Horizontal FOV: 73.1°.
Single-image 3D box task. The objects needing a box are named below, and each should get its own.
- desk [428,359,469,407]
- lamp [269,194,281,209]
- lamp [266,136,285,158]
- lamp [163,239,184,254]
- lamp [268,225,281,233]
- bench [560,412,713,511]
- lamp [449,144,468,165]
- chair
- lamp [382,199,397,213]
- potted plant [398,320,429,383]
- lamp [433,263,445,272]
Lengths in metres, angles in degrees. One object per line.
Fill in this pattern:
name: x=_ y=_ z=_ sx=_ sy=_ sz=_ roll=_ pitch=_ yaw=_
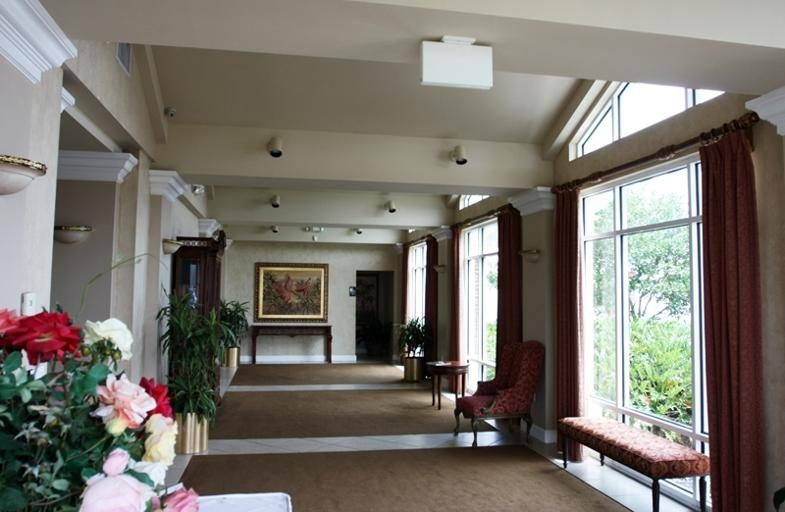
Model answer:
desk: x=0.907 y=1.861 z=8.205 sx=0.826 sy=0.809 sz=0.814 roll=2 pitch=-11 yaw=-12
lamp: x=-2.152 y=-1.019 z=9.671 sx=0.212 sy=0.240 sz=0.213 roll=3 pitch=-6 yaw=-16
lamp: x=-1.334 y=-1.241 z=6.018 sx=0.186 sy=0.215 sz=0.154 roll=3 pitch=-6 yaw=-13
lamp: x=-2.591 y=-0.138 z=6.177 sx=0.175 sy=0.168 sz=0.297 roll=4 pitch=-6 yaw=-19
lamp: x=-2.677 y=-0.624 z=12.078 sx=0.223 sy=0.158 sz=0.106 roll=5 pitch=-7 yaw=-28
bench: x=2.251 y=1.892 z=4.854 sx=0.617 sy=0.609 sz=1.393 roll=4 pitch=-6 yaw=-21
lamp: x=0.775 y=-1.186 z=6.272 sx=0.176 sy=0.237 sz=0.235 roll=4 pitch=-22 yaw=-15
chair: x=1.327 y=1.656 z=6.706 sx=1.009 sy=1.177 sz=0.914 roll=-1 pitch=-6 yaw=-3
lamp: x=-0.062 y=-0.970 z=10.044 sx=0.166 sy=0.228 sz=0.267 roll=0 pitch=-29 yaw=-30
potted plant: x=0.420 y=1.851 z=10.698 sx=0.577 sy=1.235 sz=0.714 roll=2 pitch=-6 yaw=2
lamp: x=0.873 y=0.211 z=9.897 sx=0.188 sy=0.127 sz=0.289 roll=2 pitch=-6 yaw=-3
